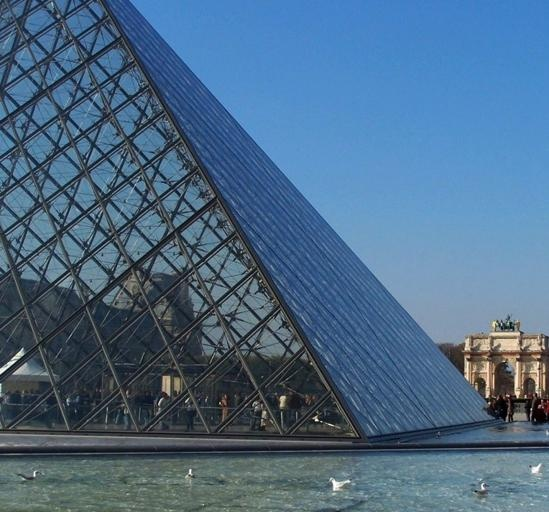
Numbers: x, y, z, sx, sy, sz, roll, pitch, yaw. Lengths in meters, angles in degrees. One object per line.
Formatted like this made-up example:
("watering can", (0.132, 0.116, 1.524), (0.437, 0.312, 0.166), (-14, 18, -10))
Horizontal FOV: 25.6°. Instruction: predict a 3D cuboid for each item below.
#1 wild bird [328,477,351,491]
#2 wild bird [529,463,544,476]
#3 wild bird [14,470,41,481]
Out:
("wild bird", (0.986, 3.354, 17.830), (0.336, 0.176, 0.698), (-4, -10, 2))
("wild bird", (4.263, 3.442, 19.530), (0.221, 0.167, 0.870), (-6, -11, 11))
("wild bird", (-3.640, 3.249, 17.898), (0.360, 0.152, 0.572), (-2, -10, -6))
